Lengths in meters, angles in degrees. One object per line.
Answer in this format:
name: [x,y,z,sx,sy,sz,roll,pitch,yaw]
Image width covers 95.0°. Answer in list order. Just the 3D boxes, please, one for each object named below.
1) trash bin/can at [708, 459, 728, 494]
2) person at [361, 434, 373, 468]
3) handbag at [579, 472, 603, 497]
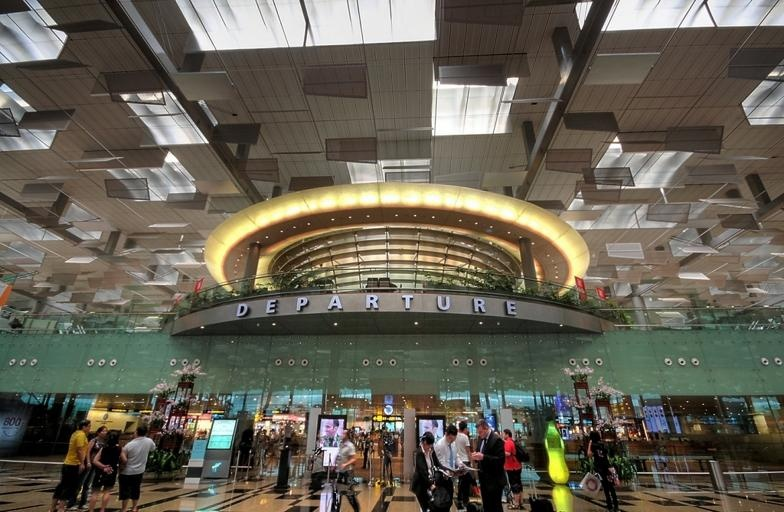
trash bin/can: [11.778,7.436,12.531,0.444,1.011,0.798,-22,-34,27]
person: [-1.080,8.602,16.390,0.476,1.306,0.456,-10,-33,11]
handbag: [6.384,6.736,11.063,0.496,0.612,0.679,-15,-29,22]
